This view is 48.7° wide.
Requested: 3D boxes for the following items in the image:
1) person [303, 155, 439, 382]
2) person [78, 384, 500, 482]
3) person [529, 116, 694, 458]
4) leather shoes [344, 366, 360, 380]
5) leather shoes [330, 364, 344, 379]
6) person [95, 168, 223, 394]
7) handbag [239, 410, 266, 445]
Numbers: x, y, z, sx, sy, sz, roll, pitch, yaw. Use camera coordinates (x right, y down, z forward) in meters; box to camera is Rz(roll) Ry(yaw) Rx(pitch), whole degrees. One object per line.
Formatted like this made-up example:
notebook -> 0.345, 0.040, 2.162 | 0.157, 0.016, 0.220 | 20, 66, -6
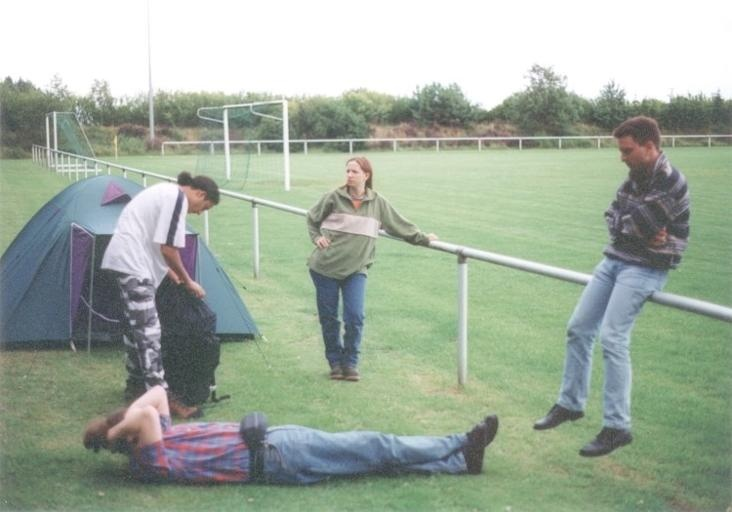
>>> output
person -> -0.067, 0.093, 7.446 | 0.927, 1.988, 0.650 | 0, 9, -7
person -> -0.566, 1.125, 6.172 | 3.451, 0.883, 1.031 | 0, -5, -2
person -> 1.829, 0.279, 5.871 | 0.883, 2.565, 0.637 | 4, 10, 21
leather shoes -> -0.133, 1.071, 7.301 | 0.151, 0.109, 0.100 | 1, 9, -1
leather shoes -> -0.270, 1.059, 7.341 | 0.110, 0.112, 0.093 | 0, 9, -4
person -> -1.701, 0.269, 6.651 | 0.646, 1.904, 0.752 | 6, 11, 32
handbag -> -0.797, 1.227, 5.750 | 0.206, 0.207, 0.198 | 6, -24, -14
